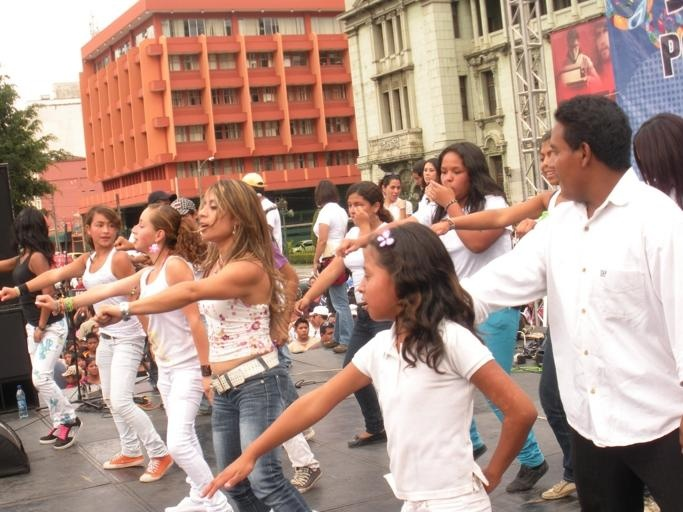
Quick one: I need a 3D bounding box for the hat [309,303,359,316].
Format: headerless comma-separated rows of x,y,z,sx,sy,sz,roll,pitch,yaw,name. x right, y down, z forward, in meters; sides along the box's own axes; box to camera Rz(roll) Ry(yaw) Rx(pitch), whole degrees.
-0.113,0.953,10.507,0.682,0.193,0.717,0,-3,-1,hat

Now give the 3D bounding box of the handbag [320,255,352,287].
-0.061,0.162,6.883,0.227,0.431,0.427,26,-11,-32,handbag

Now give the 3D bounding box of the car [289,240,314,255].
-2.866,-0.699,43.341,1.935,0.998,1.150,7,-9,-35,car

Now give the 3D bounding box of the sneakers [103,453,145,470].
-2.183,2.111,6.050,0.416,0.178,0.161,4,-2,-2,sneakers
